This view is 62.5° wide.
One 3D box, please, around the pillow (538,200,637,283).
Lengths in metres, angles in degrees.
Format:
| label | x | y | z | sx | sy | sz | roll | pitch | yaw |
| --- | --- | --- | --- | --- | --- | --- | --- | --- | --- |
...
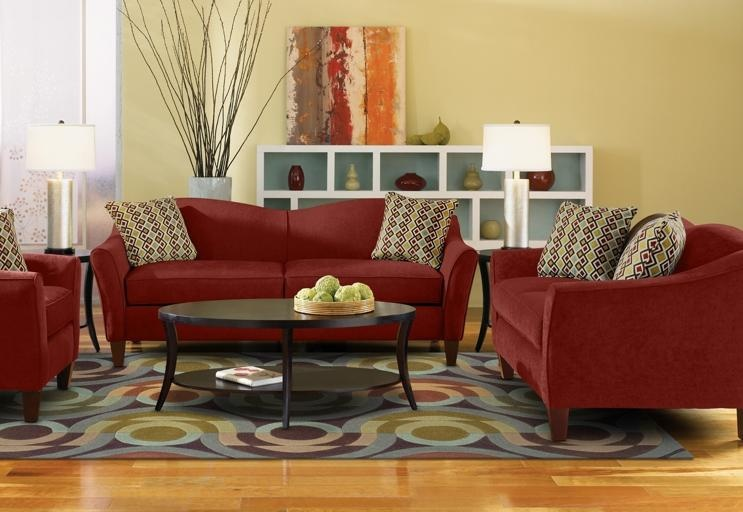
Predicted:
| label | x | y | z | sx | sy | sz | roll | pitch | yaw |
| --- | --- | --- | --- | --- | --- | --- | --- | --- | --- |
| pillow | 1.376 | -0.107 | 3.897 | 0.339 | 0.433 | 0.556 | -17 | 17 | -23 |

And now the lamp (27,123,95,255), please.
| label | x | y | z | sx | sy | sz | roll | pitch | yaw |
| --- | --- | --- | --- | --- | --- | --- | --- | --- | --- |
| lamp | -2.386 | -0.449 | 4.592 | 0.599 | 0.866 | 0.540 | -5 | 4 | -28 |

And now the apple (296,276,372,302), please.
| label | x | y | z | sx | sy | sz | roll | pitch | yaw |
| --- | --- | --- | --- | --- | --- | --- | --- | --- | --- |
| apple | -0.199 | 0.176 | 3.208 | 0.405 | 0.128 | 0.137 | 0 | 9 | -4 |

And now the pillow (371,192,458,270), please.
| label | x | y | z | sx | sy | sz | roll | pitch | yaw |
| --- | --- | --- | --- | --- | --- | --- | --- | --- | --- |
| pillow | 0.324 | -0.190 | 4.617 | 0.673 | 0.524 | 0.192 | 11 | -6 | 25 |

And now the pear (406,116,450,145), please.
| label | x | y | z | sx | sy | sz | roll | pitch | yaw |
| --- | --- | --- | --- | --- | --- | --- | --- | --- | --- |
| pear | 0.619 | -1.172 | 5.902 | 0.481 | 0.183 | 0.181 | -8 | -3 | -21 |
